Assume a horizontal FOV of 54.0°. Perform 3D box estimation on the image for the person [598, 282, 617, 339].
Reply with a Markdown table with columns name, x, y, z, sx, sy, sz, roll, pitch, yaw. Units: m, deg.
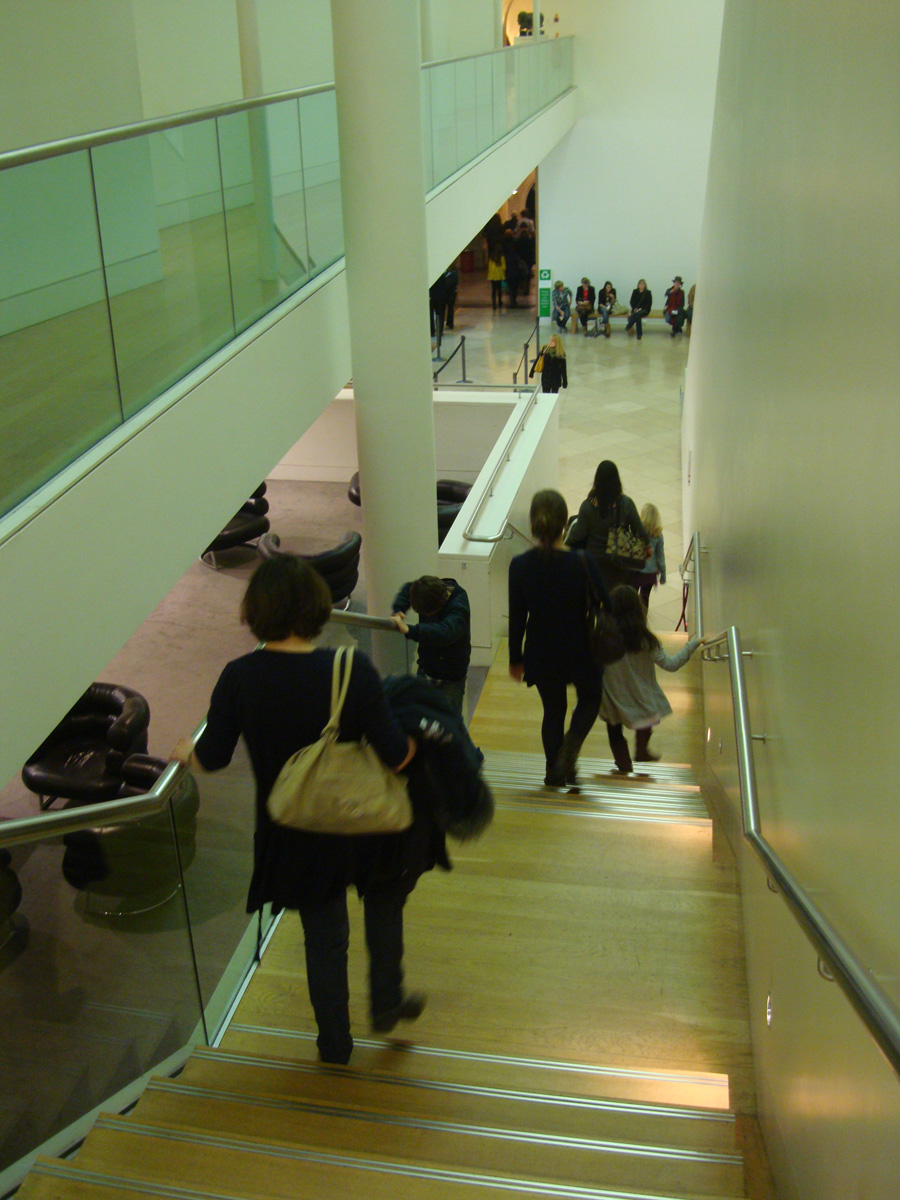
| name | x | y | z | sx | sy | sz | roll | pitch | yaw |
| --- | --- | --- | --- | --- | --- | --- | --- | --- | --- |
| person | 3.714 | -7.062 | 21.285 | 0.448 | 1.272 | 1.017 | 3 | 17 | 9 |

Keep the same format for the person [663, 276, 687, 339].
| name | x | y | z | sx | sy | sz | roll | pitch | yaw |
| --- | --- | --- | --- | --- | --- | --- | --- | --- | --- |
| person | 5.199 | -6.842 | 20.476 | 0.527 | 1.345 | 1.114 | 7 | 18 | 19 |

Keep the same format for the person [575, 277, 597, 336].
| name | x | y | z | sx | sy | sz | roll | pitch | yaw |
| --- | --- | --- | --- | --- | --- | --- | --- | --- | --- |
| person | 3.221 | -7.133 | 21.259 | 0.475 | 1.266 | 1.191 | 3 | 17 | 8 |

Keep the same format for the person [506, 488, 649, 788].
| name | x | y | z | sx | sy | sz | roll | pitch | yaw |
| --- | --- | --- | --- | --- | --- | --- | --- | --- | --- |
| person | 0.503 | 0.195 | 4.044 | 0.460 | 1.443 | 0.478 | -9 | 16 | -17 |

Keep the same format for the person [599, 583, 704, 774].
| name | x | y | z | sx | sy | sz | roll | pitch | yaw |
| --- | --- | --- | --- | --- | --- | --- | --- | --- | --- |
| person | 0.920 | 0.380 | 4.331 | 0.554 | 0.933 | 0.390 | -1 | 16 | 15 |

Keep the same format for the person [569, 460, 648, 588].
| name | x | y | z | sx | sy | sz | roll | pitch | yaw |
| --- | --- | --- | --- | --- | --- | --- | --- | --- | --- |
| person | 0.996 | -0.331 | 5.686 | 0.453 | 1.277 | 0.337 | -3 | 29 | 6 |

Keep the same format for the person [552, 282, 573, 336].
| name | x | y | z | sx | sy | sz | roll | pitch | yaw |
| --- | --- | --- | --- | --- | --- | --- | --- | --- | --- |
| person | 2.625 | -6.926 | 20.844 | 0.487 | 1.127 | 1.696 | 3 | 18 | 6 |

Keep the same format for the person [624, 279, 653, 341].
| name | x | y | z | sx | sy | sz | roll | pitch | yaw |
| --- | --- | --- | --- | --- | --- | --- | --- | --- | --- |
| person | 4.455 | -6.924 | 20.911 | 0.553 | 1.331 | 1.238 | 4 | 17 | 11 |

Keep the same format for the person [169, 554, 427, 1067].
| name | x | y | z | sx | sy | sz | roll | pitch | yaw |
| --- | --- | --- | --- | --- | --- | --- | --- | --- | --- |
| person | -0.287 | 0.487 | 2.097 | 0.511 | 1.235 | 0.419 | -6 | 14 | -15 |
